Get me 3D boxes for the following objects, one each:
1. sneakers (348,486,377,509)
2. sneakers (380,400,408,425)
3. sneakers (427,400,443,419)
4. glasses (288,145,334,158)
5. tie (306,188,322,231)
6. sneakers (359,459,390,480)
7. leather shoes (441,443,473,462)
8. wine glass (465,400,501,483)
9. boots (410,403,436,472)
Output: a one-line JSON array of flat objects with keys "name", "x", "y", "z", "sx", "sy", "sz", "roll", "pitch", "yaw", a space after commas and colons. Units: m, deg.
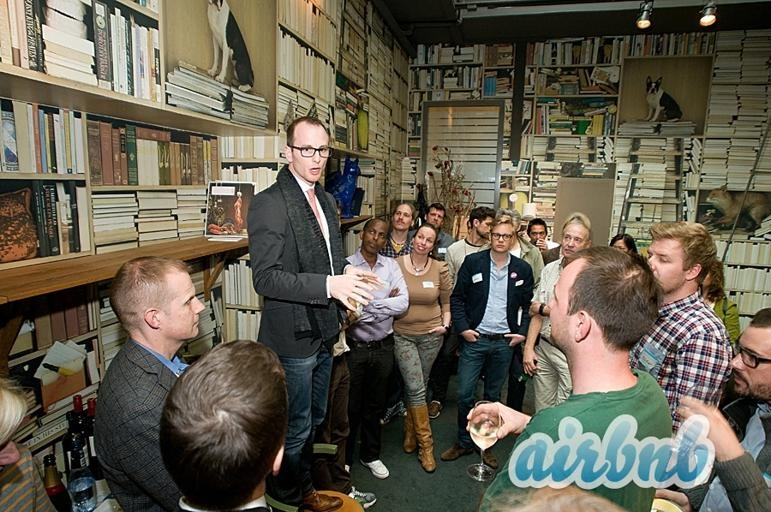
[{"name": "sneakers", "x": -0.153, "y": 1.660, "z": 3.374, "sx": 0.272, "sy": 0.134, "sz": 0.094, "roll": 3, "pitch": 8, "yaw": 10}, {"name": "sneakers", "x": 0.062, "y": 1.384, "z": 4.333, "sx": 0.096, "sy": 0.127, "sz": 0.294, "roll": -3, "pitch": 0, "yaw": 40}, {"name": "sneakers", "x": 0.439, "y": 1.378, "z": 4.392, "sx": 0.160, "sy": 0.148, "sz": 0.406, "roll": -2, "pitch": -11, "yaw": 12}, {"name": "glasses", "x": -0.420, "y": -0.573, "z": 2.727, "sx": 0.223, "sy": 0.064, "sz": 0.081, "roll": -1, "pitch": 9, "yaw": -16}, {"name": "tie", "x": -0.402, "y": -0.270, "z": 2.827, "sx": 0.088, "sy": 0.227, "sz": 0.139, "roll": 3, "pitch": 9, "yaw": 11}, {"name": "sneakers", "x": -0.070, "y": 1.565, "z": 3.640, "sx": 0.086, "sy": 0.079, "sz": 0.215, "roll": -4, "pitch": -1, "yaw": -37}, {"name": "leather shoes", "x": 0.544, "y": 1.532, "z": 3.879, "sx": 0.279, "sy": 0.125, "sz": 0.095, "roll": 3, "pitch": -2, "yaw": -26}, {"name": "wine glass", "x": 0.464, "y": 0.881, "z": 2.347, "sx": 0.152, "sy": 0.323, "sz": 0.132, "roll": 5, "pitch": 11, "yaw": 39}, {"name": "boots", "x": 0.288, "y": 1.364, "z": 3.769, "sx": 0.227, "sy": 0.450, "sz": 0.310, "roll": 3, "pitch": 9, "yaw": 6}]
